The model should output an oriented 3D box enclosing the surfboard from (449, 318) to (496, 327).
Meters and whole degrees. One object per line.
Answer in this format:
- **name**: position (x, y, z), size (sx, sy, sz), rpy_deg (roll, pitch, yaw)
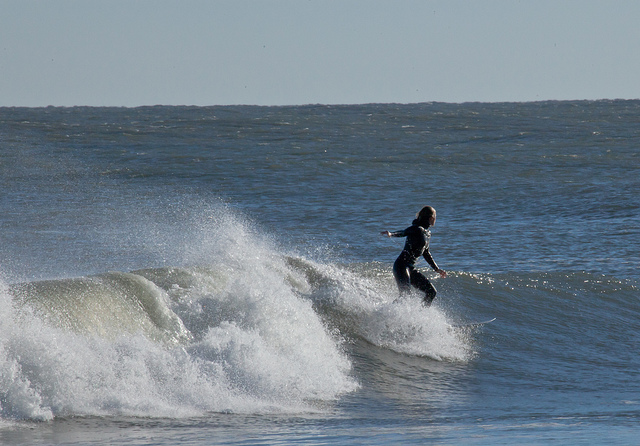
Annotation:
- **surfboard**: position (4.593, 2.975, 42.426), size (1.985, 0.163, 0.196), rpy_deg (-1, 12, -18)
